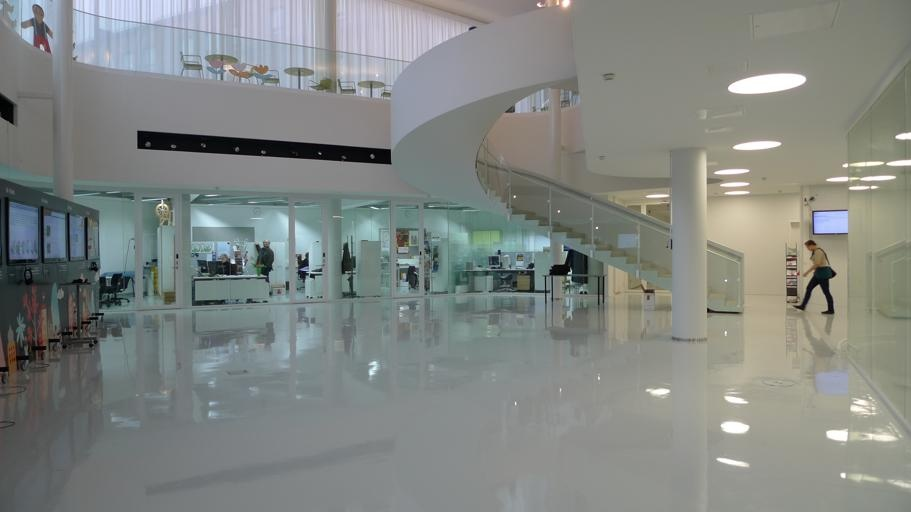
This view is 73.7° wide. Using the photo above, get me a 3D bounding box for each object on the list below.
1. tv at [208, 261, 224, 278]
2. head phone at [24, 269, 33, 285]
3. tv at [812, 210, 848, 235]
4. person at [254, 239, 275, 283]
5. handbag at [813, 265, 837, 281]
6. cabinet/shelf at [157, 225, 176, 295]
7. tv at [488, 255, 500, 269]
[{"bbox_3d":[-7.610,0.460,19.383,0.538,0.515,0.389,4,-9,-32],"label":"tv"},{"bbox_3d":[-7.682,0.371,10.935,0.093,0.222,0.158,-4,3,10],"label":"head phone"},{"bbox_3d":[11.688,-1.056,18.863,0.952,0.653,0.041,1,5,22],"label":"tv"},{"bbox_3d":[-6.202,0.133,19.819,0.525,1.252,0.349,2,12,9],"label":"person"},{"bbox_3d":[9.938,0.461,16.462,0.366,0.528,0.540,3,-5,-43],"label":"handbag"},{"bbox_3d":[-8.829,0.228,18.613,0.519,2.299,0.454,-4,12,-19],"label":"cabinet/shelf"},{"bbox_3d":[1.503,0.235,23.938,0.486,0.478,0.262,-1,7,5],"label":"tv"}]
